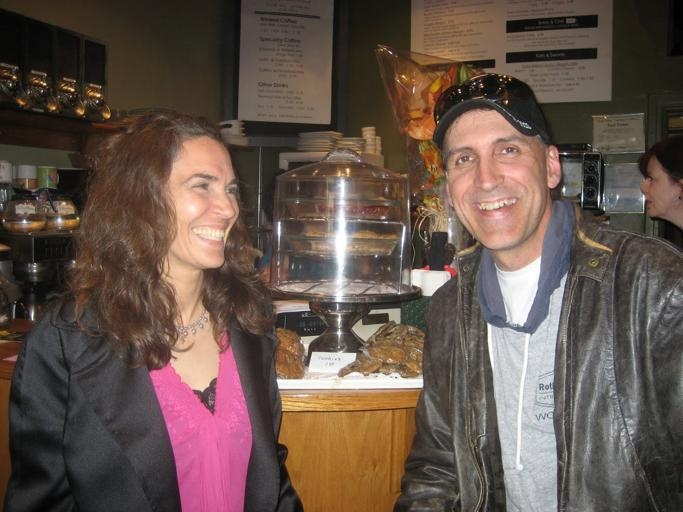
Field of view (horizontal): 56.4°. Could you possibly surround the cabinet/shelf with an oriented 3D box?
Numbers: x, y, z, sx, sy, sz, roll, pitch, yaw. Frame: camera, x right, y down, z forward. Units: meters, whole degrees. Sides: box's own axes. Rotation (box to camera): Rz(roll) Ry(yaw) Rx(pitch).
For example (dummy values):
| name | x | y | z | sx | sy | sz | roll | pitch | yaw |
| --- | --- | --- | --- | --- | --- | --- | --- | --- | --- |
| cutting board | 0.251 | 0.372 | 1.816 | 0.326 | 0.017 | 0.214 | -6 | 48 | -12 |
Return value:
| name | x | y | z | sx | sy | sz | roll | pitch | yaw |
| --- | --- | --- | --- | --- | --- | --- | --- | --- | --- |
| cabinet/shelf | 0.019 | -0.041 | 2.967 | 0.711 | 0.976 | 0.746 | 1 | 0 | 1 |
